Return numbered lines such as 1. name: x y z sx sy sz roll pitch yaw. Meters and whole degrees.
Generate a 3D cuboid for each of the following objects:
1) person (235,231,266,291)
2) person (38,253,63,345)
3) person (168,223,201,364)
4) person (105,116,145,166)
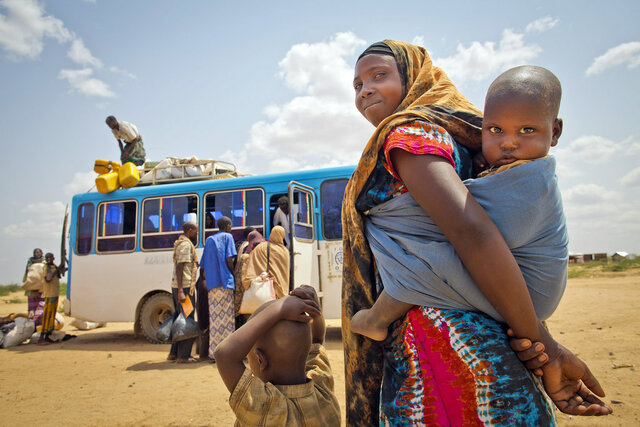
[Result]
1. person: -1.215 0.720 7.055 0.334 0.901 0.685 8 -5 -38
2. person: -5.952 1.857 9.726 0.455 2.032 0.560 1 -4 -33
3. person: -2.301 1.299 7.386 0.474 2.464 0.982 0 -4 -18
4. person: -4.581 -1.793 10.388 0.790 1.136 0.436 1 -4 -26
